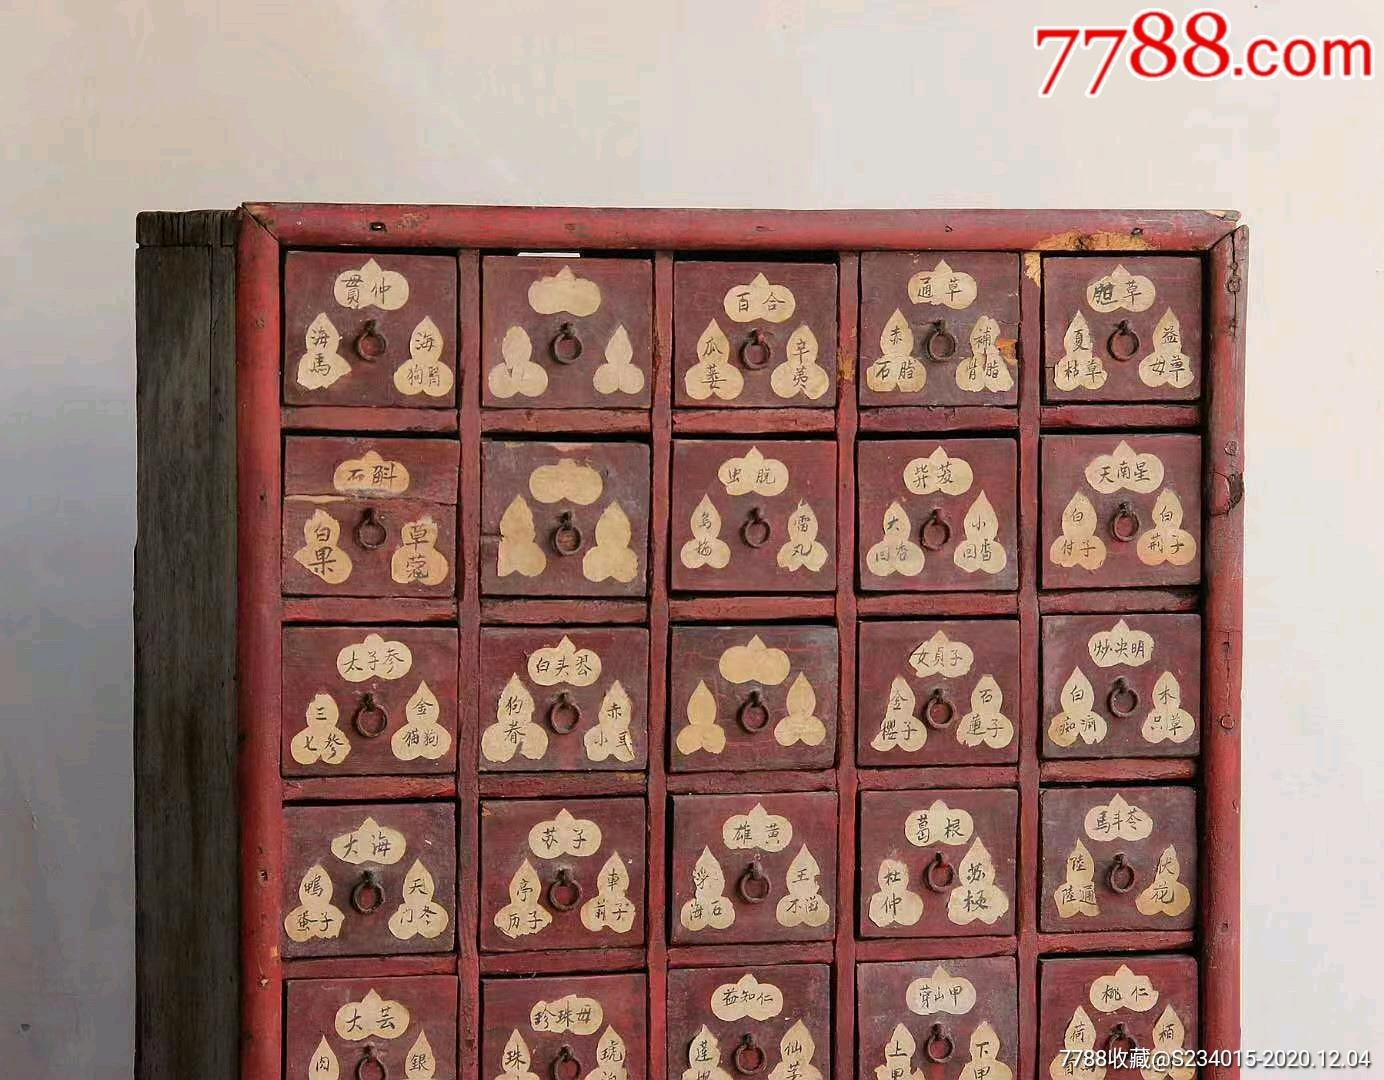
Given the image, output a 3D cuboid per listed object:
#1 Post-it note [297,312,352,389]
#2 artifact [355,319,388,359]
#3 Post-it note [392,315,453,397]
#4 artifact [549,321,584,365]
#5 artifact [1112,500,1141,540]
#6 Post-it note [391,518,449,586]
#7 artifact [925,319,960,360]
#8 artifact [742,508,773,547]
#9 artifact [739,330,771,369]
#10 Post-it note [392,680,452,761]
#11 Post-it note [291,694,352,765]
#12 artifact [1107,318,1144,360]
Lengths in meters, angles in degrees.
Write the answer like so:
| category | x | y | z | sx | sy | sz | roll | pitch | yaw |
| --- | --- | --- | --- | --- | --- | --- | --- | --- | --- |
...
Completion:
| category | x | y | z | sx | sy | sz | roll | pitch | yaw |
| --- | --- | --- | --- | --- | --- | --- | --- | --- | --- |
| Post-it note | -0.734 | -0.377 | 5.500 | 0.102 | 0.001 | 0.172 | -4 | -57 | -15 |
| artifact | -0.642 | -0.390 | 5.509 | 0.069 | 0.024 | 0.072 | -37 | -82 | 6 |
| Post-it note | -0.543 | -0.371 | 5.524 | 0.130 | 0.003 | 0.202 | -1 | -80 | -8 |
| artifact | -0.253 | -0.388 | 5.541 | 0.070 | 0.019 | 0.074 | -34 | -82 | 5 |
| artifact | 0.882 | -0.038 | 5.608 | 0.048 | 0.027 | 0.081 | -1 | -92 | -9 |
| Post-it note | -0.548 | 0.022 | 5.530 | 0.109 | 0.003 | 0.167 | -1 | -75 | -7 |
| artifact | 0.507 | -0.405 | 5.591 | 0.051 | 0.028 | 0.086 | -3 | -86 | -2 |
| artifact | 0.133 | -0.019 | 5.575 | 0.063 | 0.020 | 0.070 | 33 | -82 | -5 |
| artifact | 0.128 | -0.380 | 5.567 | 0.053 | 0.023 | 0.086 | 0 | -95 | -2 |
| Post-it note | -0.546 | 0.361 | 5.533 | 0.122 | 0.003 | 0.191 | -3 | -83 | -3 |
| Post-it note | -0.744 | 0.375 | 5.515 | 0.113 | 0.002 | 0.158 | -1 | -81 | -3 |
| artifact | 0.877 | -0.406 | 5.603 | 0.050 | 0.022 | 0.084 | -6 | -86 | -9 |
